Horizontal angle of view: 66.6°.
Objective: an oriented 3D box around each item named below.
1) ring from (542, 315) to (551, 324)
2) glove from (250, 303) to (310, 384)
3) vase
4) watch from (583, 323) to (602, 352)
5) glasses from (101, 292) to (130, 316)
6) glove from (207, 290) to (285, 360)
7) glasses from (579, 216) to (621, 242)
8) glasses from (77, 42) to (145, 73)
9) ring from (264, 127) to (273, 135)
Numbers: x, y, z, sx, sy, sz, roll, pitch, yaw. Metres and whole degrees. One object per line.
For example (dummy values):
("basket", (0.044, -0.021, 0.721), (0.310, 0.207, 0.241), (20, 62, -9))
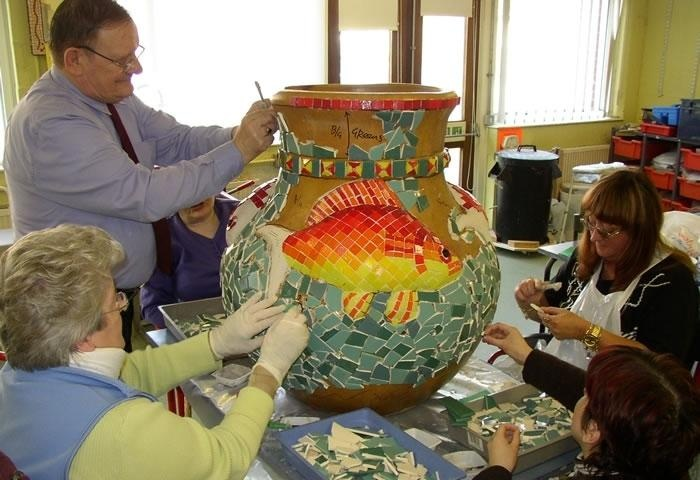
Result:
("ring", (0.729, 0.296, 1.974), (0.026, 0.023, 0.010), (2, 14, 30))
("glove", (-0.164, 0.266, 1.366), (0.109, 0.188, 0.056), (41, 25, 17))
("vase", (0.134, -0.022, 1.700), (0.822, 0.987, 0.781), (-7, 16, -26))
("watch", (0.877, 0.359, 1.931), (0.060, 0.085, 0.082), (14, 24, 6))
("glasses", (-0.567, 0.158, 1.311), (0.065, 0.018, 0.048), (-37, 9, -31))
("glove", (-0.274, 0.238, 1.450), (0.074, 0.109, 0.222), (-12, -13, -34))
("glasses", (0.999, -0.037, 2.089), (0.087, 0.030, 0.084), (15, 16, -36))
("glasses", (-0.873, -0.642, 1.907), (0.171, 0.056, 0.175), (7, 9, 25))
("ring", (-0.270, -0.367, 1.776), (0.021, 0.017, 0.010), (-1, 5, 6))
